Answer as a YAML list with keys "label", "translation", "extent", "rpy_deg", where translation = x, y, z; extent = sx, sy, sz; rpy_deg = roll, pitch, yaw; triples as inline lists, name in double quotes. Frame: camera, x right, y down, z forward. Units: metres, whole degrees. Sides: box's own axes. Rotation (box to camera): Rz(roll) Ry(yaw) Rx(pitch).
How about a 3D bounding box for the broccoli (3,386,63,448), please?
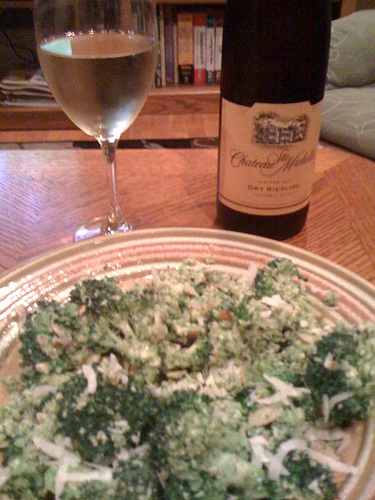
- label: "broccoli"
  translation: [-0.095, 0.100, 0.227]
  extent: [0.024, 0.016, 0.034]
  rpy_deg: [3, 60, -4]

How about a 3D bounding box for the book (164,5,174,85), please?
- label: "book"
  translation: [-0.092, -1.023, 1.843]
  extent: [0.057, 0.194, 0.202]
  rpy_deg: [-2, 46, -3]

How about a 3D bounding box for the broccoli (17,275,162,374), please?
- label: "broccoli"
  translation: [-0.070, 0.053, 0.254]
  extent: [0.059, 0.034, 0.070]
  rpy_deg: [8, 67, -2]

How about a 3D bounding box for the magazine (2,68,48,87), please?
- label: "magazine"
  translation: [-0.816, -0.864, 1.855]
  extent: [0.184, 0.051, 0.489]
  rpy_deg: [-14, 38, -22]

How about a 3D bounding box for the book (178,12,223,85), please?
- label: "book"
  translation: [0.052, -1.054, 1.923]
  extent: [0.267, 0.321, 0.241]
  rpy_deg: [-9, 40, -10]

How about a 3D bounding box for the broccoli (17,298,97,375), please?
- label: "broccoli"
  translation: [-0.085, 0.058, 0.253]
  extent: [0.045, 0.028, 0.040]
  rpy_deg: [-1, 32, -5]

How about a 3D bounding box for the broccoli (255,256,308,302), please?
- label: "broccoli"
  translation: [0.068, 0.021, 0.285]
  extent: [0.024, 0.016, 0.035]
  rpy_deg: [8, 54, 2]
